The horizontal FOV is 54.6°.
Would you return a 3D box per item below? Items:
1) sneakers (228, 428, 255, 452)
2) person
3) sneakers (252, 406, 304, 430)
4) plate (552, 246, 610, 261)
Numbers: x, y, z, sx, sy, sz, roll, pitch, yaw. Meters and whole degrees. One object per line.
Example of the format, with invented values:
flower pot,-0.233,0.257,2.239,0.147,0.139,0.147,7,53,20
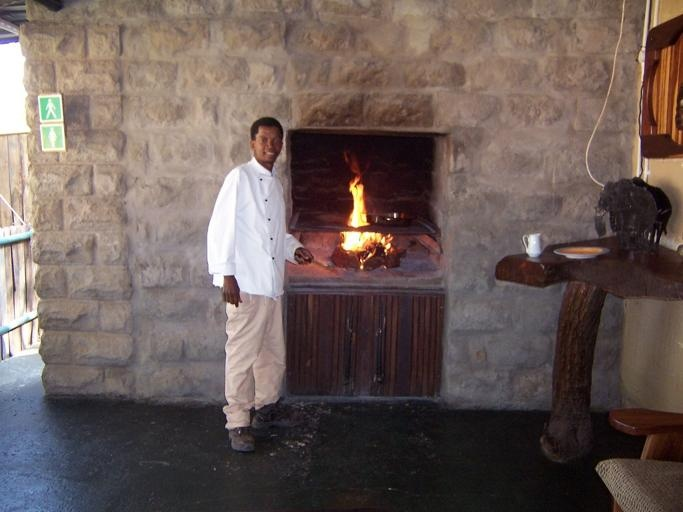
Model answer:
sneakers,-0.668,1.207,4.405,0.174,0.132,0.187,-2,7,-11
person,-0.576,0.161,4.497,0.329,2.181,0.684,4,8,38
sneakers,-0.471,1.145,4.661,0.279,0.093,0.174,1,4,-2
plate,1.491,-0.026,4.101,0.309,0.053,0.320,-1,7,-5
